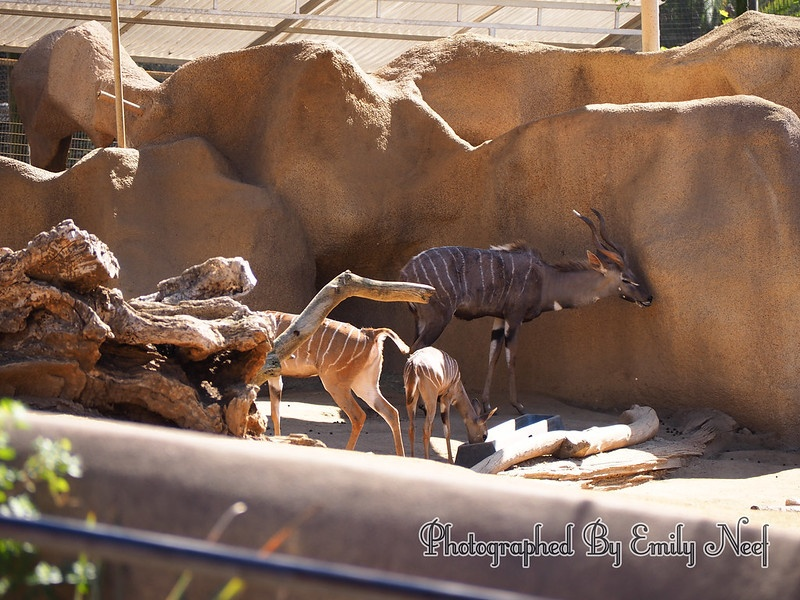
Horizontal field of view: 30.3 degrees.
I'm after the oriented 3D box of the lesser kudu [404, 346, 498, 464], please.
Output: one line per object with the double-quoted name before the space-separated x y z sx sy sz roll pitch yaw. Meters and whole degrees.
"lesser kudu" 0.414 1.047 14.388 0.939 1.125 0.552 -14 19 -42
